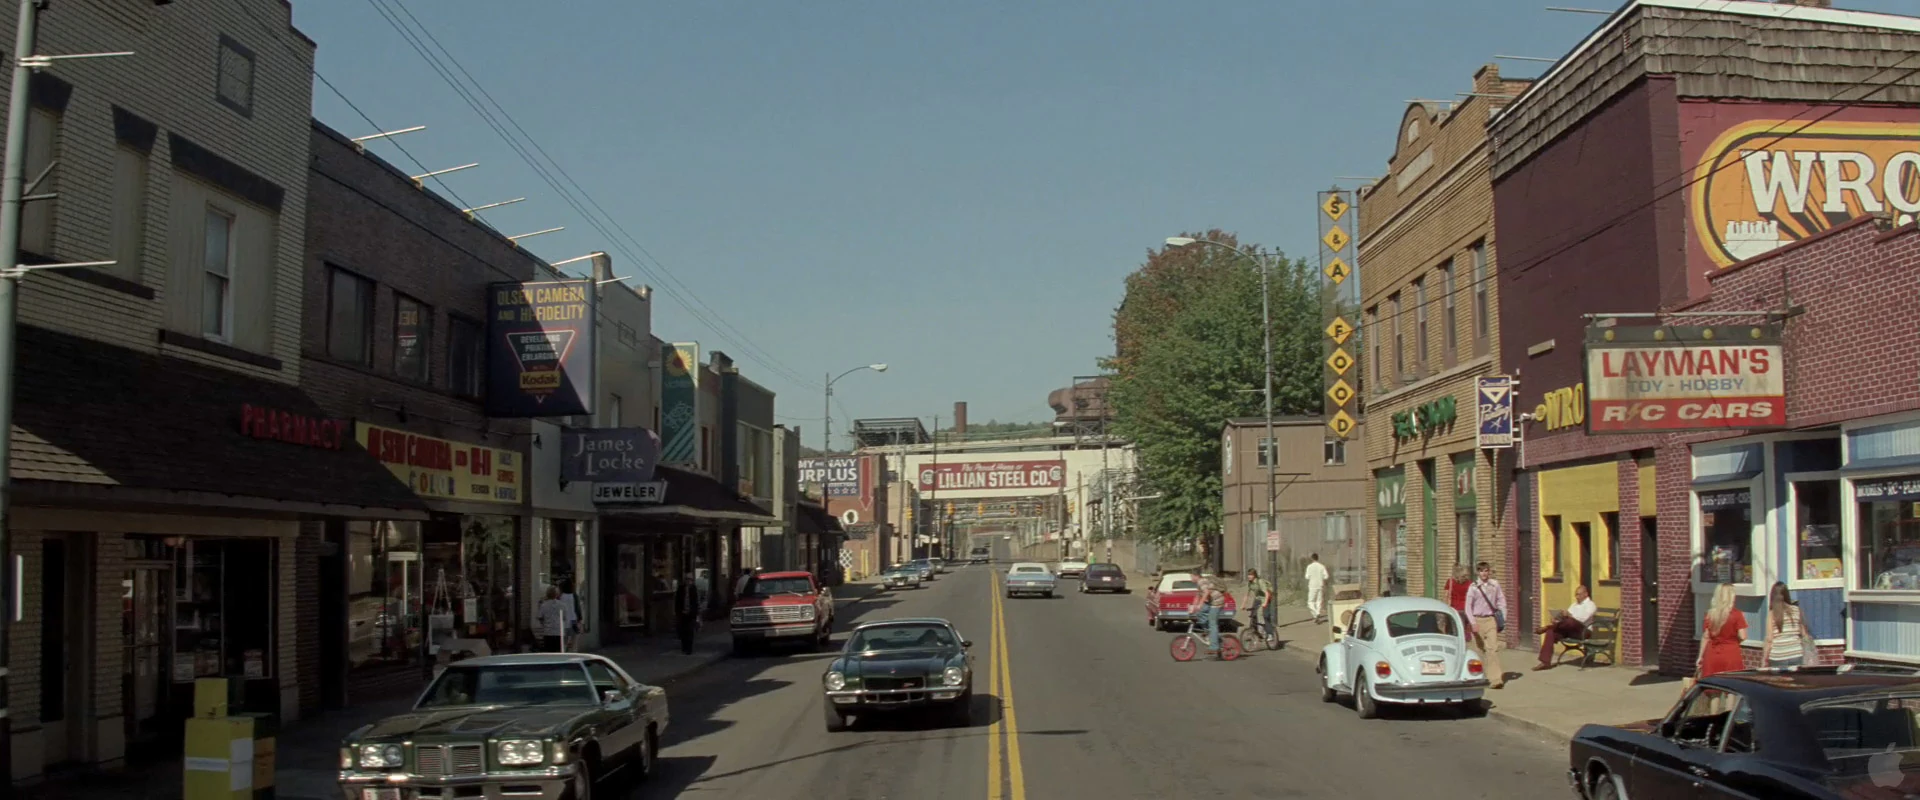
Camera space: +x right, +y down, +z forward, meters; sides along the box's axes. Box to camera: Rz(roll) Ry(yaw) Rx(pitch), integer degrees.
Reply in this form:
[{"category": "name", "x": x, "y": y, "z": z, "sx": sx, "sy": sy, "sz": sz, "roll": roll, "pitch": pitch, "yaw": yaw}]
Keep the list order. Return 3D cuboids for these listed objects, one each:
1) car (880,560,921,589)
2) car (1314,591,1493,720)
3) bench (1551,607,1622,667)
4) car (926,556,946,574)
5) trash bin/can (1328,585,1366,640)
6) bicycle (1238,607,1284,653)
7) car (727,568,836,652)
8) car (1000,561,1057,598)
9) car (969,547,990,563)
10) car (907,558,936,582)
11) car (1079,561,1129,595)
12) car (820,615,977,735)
[{"category": "car", "x": -3.874, "y": 11.448, "z": 101.275, "sx": 2.207, "sy": 1.158, "sz": 3.986, "roll": -2, "pitch": -9, "yaw": 3}, {"category": "car", "x": 13.585, "y": 7.940, "z": 48.180, "sx": 3.825, "sy": 3.005, "sz": 7.637, "roll": -1, "pitch": -4, "yaw": 7}, {"category": "bench", "x": 21.136, "y": 8.061, "z": 52.682, "sx": 2.109, "sy": 2.240, "sz": 1.882, "roll": 0, "pitch": -6, "yaw": -14}, {"category": "car", "x": -1.830, "y": 12.279, "z": 115.341, "sx": 1.631, "sy": 1.116, "sz": 2.555, "roll": 0, "pitch": -11, "yaw": -1}, {"category": "trash bin/can", "x": 14.760, "y": 8.011, "z": 58.553, "sx": 1.309, "sy": 1.828, "sz": 1.124, "roll": -2, "pitch": 1, "yaw": 27}, {"category": "bicycle", "x": 11.524, "y": 8.794, "z": 59.780, "sx": 1.481, "sy": 1.724, "sz": 1.212, "roll": -4, "pitch": -13, "yaw": -1}, {"category": "car", "x": -7.167, "y": 8.282, "z": 62.875, "sx": 3.737, "sy": 2.361, "sz": 6.928, "roll": -1, "pitch": 0, "yaw": -2}, {"category": "car", "x": 3.752, "y": 9.689, "z": 83.961, "sx": 2.324, "sy": 2.037, "sz": 4.009, "roll": -6, "pitch": -13, "yaw": 7}, {"category": "car", "x": 1.924, "y": 16.083, "z": 161.057, "sx": 1.617, "sy": 1.123, "sz": 2.543, "roll": -1, "pitch": -11, "yaw": 3}, {"category": "car", "x": -2.608, "y": 11.341, "z": 103.172, "sx": 1.682, "sy": 0.953, "sz": 3.475, "roll": -1, "pitch": -10, "yaw": 1}, {"category": "car", "x": 8.108, "y": 10.201, "z": 89.264, "sx": 1.677, "sy": 1.736, "sz": 2.480, "roll": 2, "pitch": -15, "yaw": -26}, {"category": "car", "x": -1.805, "y": 8.277, "z": 47.824, "sx": 4.215, "sy": 2.390, "sz": 8.627, "roll": 0, "pitch": -4, "yaw": 2}]
